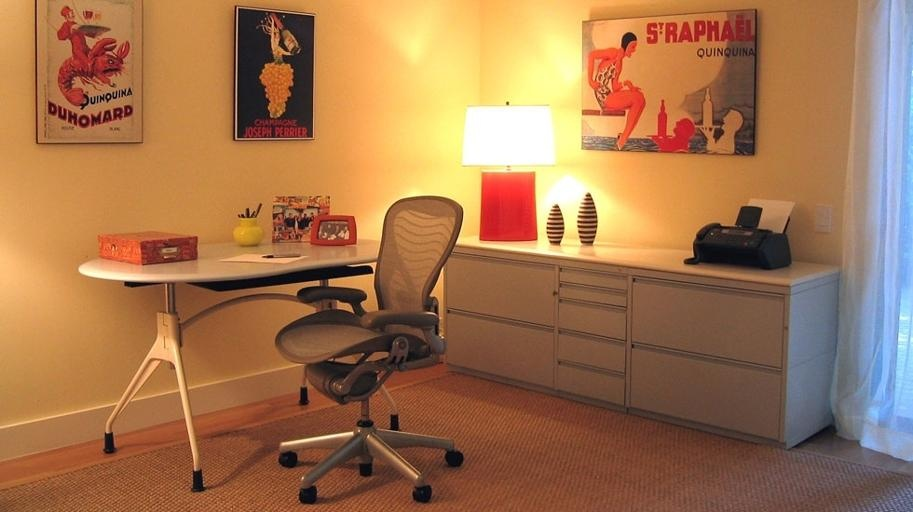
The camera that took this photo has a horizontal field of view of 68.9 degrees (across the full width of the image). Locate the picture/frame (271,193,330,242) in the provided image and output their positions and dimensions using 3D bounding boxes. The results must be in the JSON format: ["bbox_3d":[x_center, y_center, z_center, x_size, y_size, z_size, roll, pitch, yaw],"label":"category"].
[{"bbox_3d":[-1.091,-0.267,4.711,0.385,0.282,0.030,-1,6,-18],"label":"picture/frame"}]

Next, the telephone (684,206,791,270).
[{"bbox_3d":[1.926,-0.139,4.593,0.395,0.353,0.592,-16,16,-34],"label":"telephone"}]

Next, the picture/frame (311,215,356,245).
[{"bbox_3d":[-0.848,-0.174,4.648,0.405,0.245,0.197,0,-1,-4],"label":"picture/frame"}]

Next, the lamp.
[{"bbox_3d":[0.412,-0.668,5.321,0.708,1.055,0.360,1,14,2],"label":"lamp"}]

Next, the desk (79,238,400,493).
[{"bbox_3d":[-1.502,0.225,4.478,1.420,1.459,2.617,7,9,41],"label":"desk"}]

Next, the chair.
[{"bbox_3d":[-0.540,0.506,4.119,1.185,1.694,0.971,0,14,0],"label":"chair"}]

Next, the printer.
[{"bbox_3d":[1.954,-0.125,4.640,0.520,0.457,0.727,-1,2,-44],"label":"printer"}]
